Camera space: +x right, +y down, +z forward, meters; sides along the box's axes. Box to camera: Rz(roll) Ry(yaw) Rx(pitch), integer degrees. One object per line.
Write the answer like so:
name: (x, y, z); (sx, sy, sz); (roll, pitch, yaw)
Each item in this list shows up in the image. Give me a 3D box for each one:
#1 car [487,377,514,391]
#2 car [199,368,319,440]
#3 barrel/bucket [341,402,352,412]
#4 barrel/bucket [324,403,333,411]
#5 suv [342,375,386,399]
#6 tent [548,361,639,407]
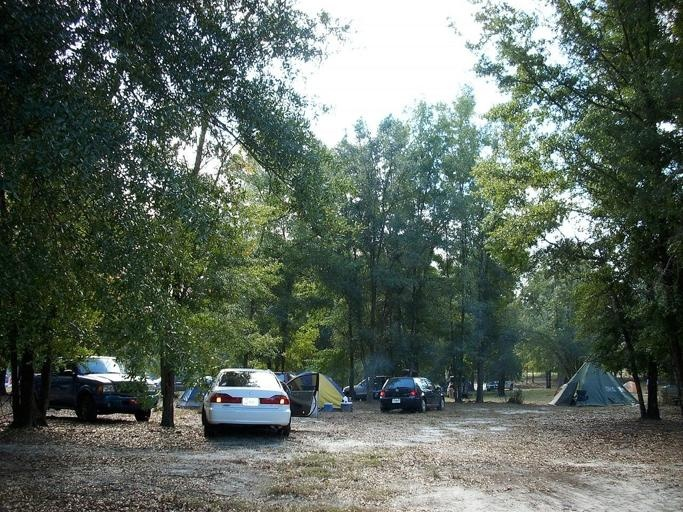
car: (18.986, 15.143, 93.728); (3.337, 1.353, 2.060); (2, -10, -2)
car: (-2.568, 4.007, 20.915); (2.136, 1.728, 1.258); (3, -3, -22)
barrel/bucket: (0.188, 6.549, 33.578); (0.362, 0.319, 0.403); (1, -9, -5)
barrel/bucket: (-0.612, 6.464, 32.986); (0.338, 0.385, 0.301); (0, -13, 2)
suv: (1.520, 8.165, 47.824); (2.865, 1.555, 1.434); (0, -7, 39)
tent: (13.014, 6.730, 40.371); (3.625, 2.278, 1.577); (0, -3, 18)
